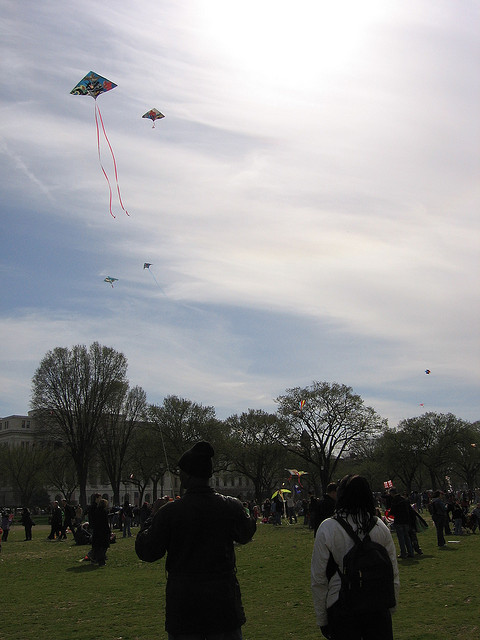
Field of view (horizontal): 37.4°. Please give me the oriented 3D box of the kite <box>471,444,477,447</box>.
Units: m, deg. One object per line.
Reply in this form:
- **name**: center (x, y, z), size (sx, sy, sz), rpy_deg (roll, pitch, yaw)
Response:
- **kite**: center (22.240, 11.975, 67.429), size (0.400, 0.196, 0.512), rpy_deg (0, 1, 7)

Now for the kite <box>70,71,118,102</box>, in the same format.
- **kite**: center (-3.762, -5.827, 18.293), size (0.932, 0.700, 1.137), rpy_deg (4, -10, -21)

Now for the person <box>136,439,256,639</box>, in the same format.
- **person**: center (-0.299, 1.463, 4.748), size (0.773, 1.261, 0.412), rpy_deg (1, -10, 0)

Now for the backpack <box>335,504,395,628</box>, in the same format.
- **backpack**: center (0.823, 1.650, 4.688), size (0.374, 0.690, 0.305), rpy_deg (1, -10, -3)

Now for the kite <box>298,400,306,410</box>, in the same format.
- **kite**: center (4.828, 6.497, 54.390), size (0.486, 0.737, 1.420), rpy_deg (0, -9, 6)

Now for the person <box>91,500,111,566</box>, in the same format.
- **person**: center (-3.416, 5.243, 17.512), size (0.409, 1.509, 0.747), rpy_deg (3, -10, -11)
